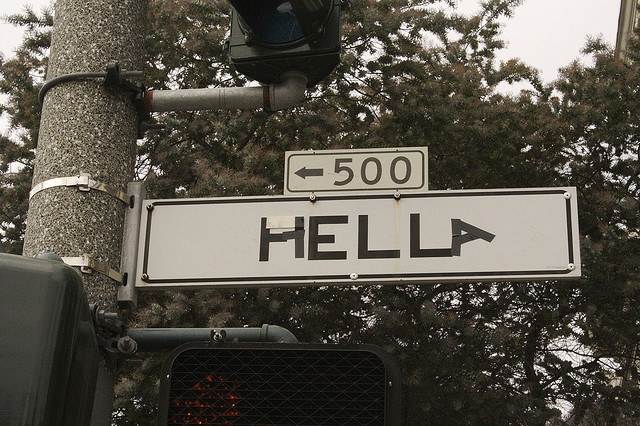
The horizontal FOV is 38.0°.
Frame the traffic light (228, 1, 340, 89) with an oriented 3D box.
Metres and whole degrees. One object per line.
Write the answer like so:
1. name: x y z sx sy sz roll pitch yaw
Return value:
1. traffic light: -0.275 -1.367 7.222 0.752 0.616 0.796 5 -29 -11
